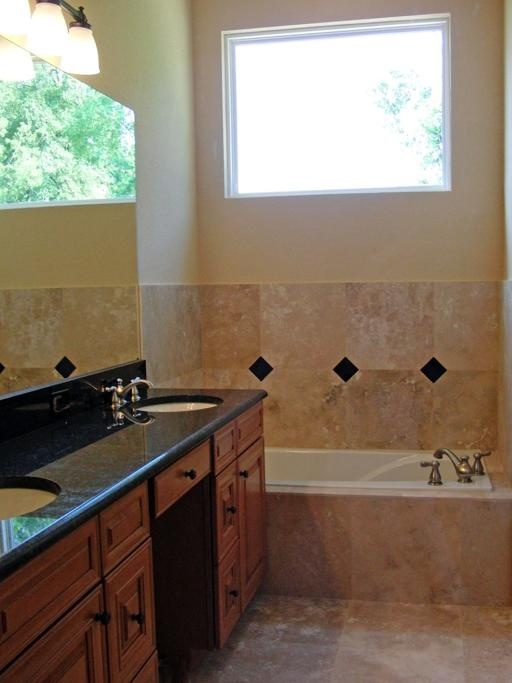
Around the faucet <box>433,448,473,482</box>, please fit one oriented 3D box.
[{"bbox_3d":[0.890,0.561,2.712,0.170,0.128,0.159,0,1,20],"label":"faucet"}]

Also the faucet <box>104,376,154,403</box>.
[{"bbox_3d":[-0.454,0.176,2.113,0.113,0.059,0.118,-2,1,22],"label":"faucet"}]
